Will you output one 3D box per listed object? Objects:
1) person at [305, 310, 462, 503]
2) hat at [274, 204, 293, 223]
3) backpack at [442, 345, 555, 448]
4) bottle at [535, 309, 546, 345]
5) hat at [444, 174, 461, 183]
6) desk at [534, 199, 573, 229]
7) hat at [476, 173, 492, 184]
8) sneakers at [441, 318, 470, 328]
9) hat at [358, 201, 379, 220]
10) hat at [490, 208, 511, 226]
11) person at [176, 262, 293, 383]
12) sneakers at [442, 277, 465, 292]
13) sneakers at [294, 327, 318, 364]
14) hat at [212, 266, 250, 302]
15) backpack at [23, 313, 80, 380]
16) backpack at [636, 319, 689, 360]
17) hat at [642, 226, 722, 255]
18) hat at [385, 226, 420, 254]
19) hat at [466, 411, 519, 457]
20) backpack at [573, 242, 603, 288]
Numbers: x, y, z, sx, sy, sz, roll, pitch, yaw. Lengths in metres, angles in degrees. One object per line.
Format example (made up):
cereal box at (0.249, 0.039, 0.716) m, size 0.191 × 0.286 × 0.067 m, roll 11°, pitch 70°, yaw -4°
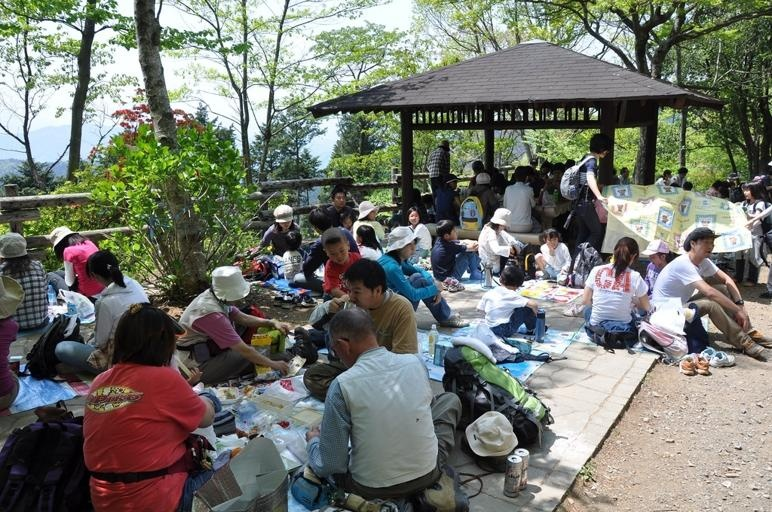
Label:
person at (-0.027, 1.261, 4.341) m, size 1.221 × 1.175 × 0.800 m, roll -7°, pitch 22°, yaw -2°
hat at (-1.810, -0.754, 9.484) m, size 0.291 × 0.195 × 0.375 m, roll -5°, pitch 11°, yaw -7°
backpack at (1.074, 1.313, 5.115) m, size 1.045 × 0.408 × 0.773 m, roll 47°, pitch 35°, yaw 10°
bottle at (2.000, 0.886, 6.914) m, size 0.108 × 0.415 × 0.266 m, roll 3°, pitch 9°, yaw 40°
hat at (1.435, -1.714, 11.804) m, size 0.305 × 0.156 × 0.219 m, roll -17°, pitch 16°, yaw -41°
desk at (3.491, -0.883, 11.269) m, size 0.643 × 0.450 × 0.935 m, roll 3°, pitch 14°, yaw 23°
hat at (1.985, -1.585, 11.009) m, size 0.370 × 0.174 × 0.522 m, roll 0°, pitch 1°, yaw 9°
sneakers at (0.918, 0.894, 7.244) m, size 0.402 × 0.170 × 0.141 m, roll -1°, pitch 4°, yaw 4°
hat at (-0.311, -0.800, 9.568) m, size 0.304 × 0.177 × 0.334 m, roll -21°, pitch 10°, yaw 21°
hat at (1.964, -0.603, 9.119) m, size 0.270 × 0.179 × 0.332 m, roll 38°, pitch -1°, yaw 35°
person at (-1.823, 0.613, 5.883) m, size 1.400 × 1.300 × 0.969 m, roll -6°, pitch 33°, yaw -22°
sneakers at (1.098, 0.479, 8.819) m, size 0.428 × 0.190 × 0.172 m, roll 0°, pitch 5°, yaw 6°
sneakers at (-0.954, 1.044, 6.277) m, size 0.231 × 0.530 × 0.183 m, roll -7°, pitch 0°, yaw -28°
hat at (-1.607, 0.291, 5.504) m, size 0.322 × 0.191 × 0.369 m, roll -29°, pitch 42°, yaw -34°
backpack at (-3.698, 1.040, 5.985) m, size 0.542 × 0.711 × 0.303 m, roll 42°, pitch 5°, yaw 25°
backpack at (3.375, 1.034, 6.548) m, size 0.502 × 0.388 × 0.214 m, roll 32°, pitch -14°, yaw 9°
hat at (3.839, -0.183, 6.955) m, size 0.523 × 0.237 × 0.693 m, roll -6°, pitch -3°, yaw -23°
hat at (0.158, -0.150, 6.492) m, size 0.303 × 0.153 × 0.331 m, roll -28°, pitch -5°, yaw -38°
hat at (0.945, 1.611, 4.795) m, size 0.420 × 0.370 × 0.233 m, roll -4°, pitch 7°, yaw -12°
backpack at (3.074, 0.149, 8.213) m, size 0.366 × 0.698 × 0.525 m, roll -2°, pitch 23°, yaw -7°
